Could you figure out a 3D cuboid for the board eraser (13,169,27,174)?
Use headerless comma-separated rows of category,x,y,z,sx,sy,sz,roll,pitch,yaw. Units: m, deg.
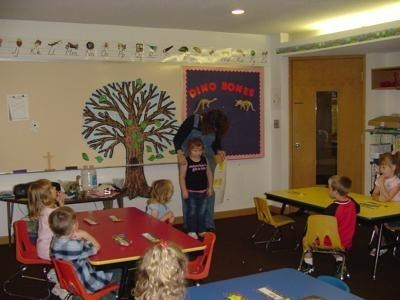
board eraser,-2.842,0.330,4.946,0.206,0.054,0.043,-5,4,-28

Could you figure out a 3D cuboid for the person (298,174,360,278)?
person,1.494,0.891,3.705,0.590,1.097,0.541,4,-7,35
